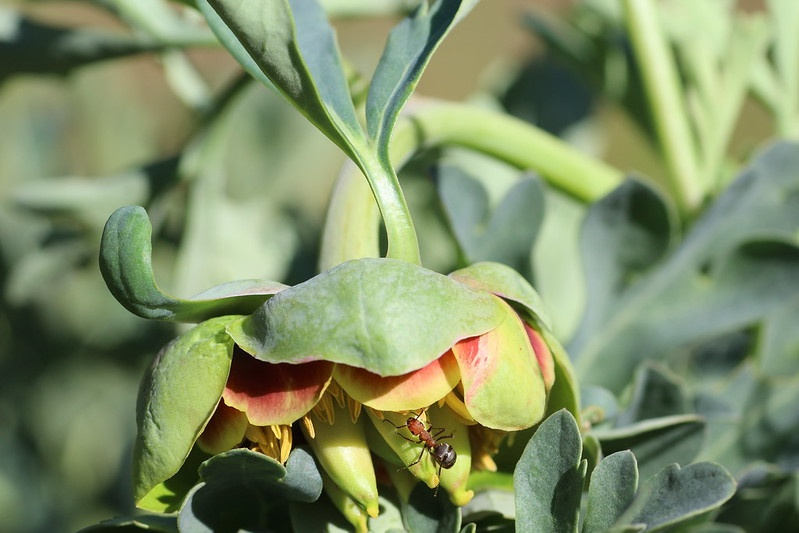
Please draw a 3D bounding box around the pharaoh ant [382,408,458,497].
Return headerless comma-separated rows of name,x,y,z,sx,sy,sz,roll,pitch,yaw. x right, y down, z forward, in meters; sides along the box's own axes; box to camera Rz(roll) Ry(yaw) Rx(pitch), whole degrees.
pharaoh ant,0.019,0.203,1.021,0.079,0.027,0.080,-41,84,-24
